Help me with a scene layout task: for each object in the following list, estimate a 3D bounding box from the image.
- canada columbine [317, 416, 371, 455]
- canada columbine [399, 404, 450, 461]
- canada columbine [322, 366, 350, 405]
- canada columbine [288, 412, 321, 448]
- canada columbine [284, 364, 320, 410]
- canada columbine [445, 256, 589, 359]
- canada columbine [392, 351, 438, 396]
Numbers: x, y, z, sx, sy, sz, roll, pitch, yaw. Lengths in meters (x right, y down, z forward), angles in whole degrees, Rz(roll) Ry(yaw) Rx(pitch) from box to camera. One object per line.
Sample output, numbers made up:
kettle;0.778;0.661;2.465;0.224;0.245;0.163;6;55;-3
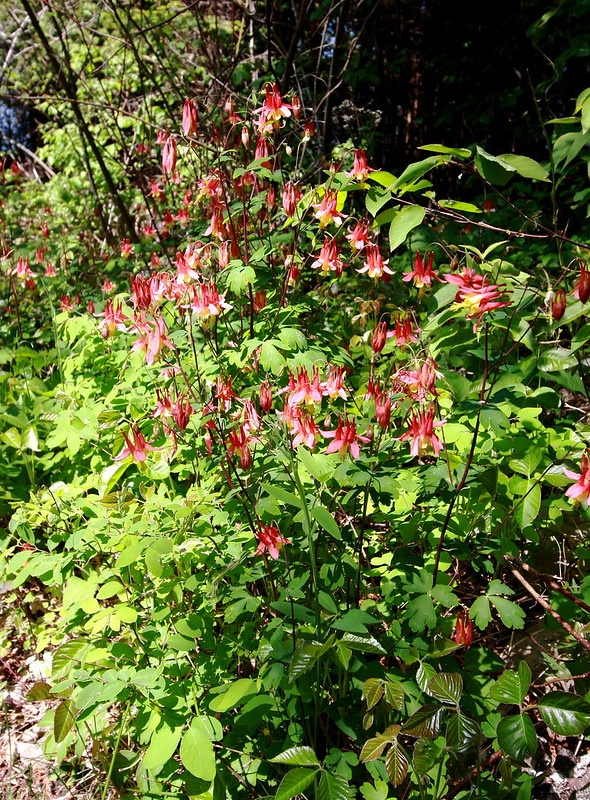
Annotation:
canada columbine;0.147;0.109;1.979;0.119;0.113;0.115;27;69;0
canada columbine;0.361;0.108;1.962;0.142;0.134;0.142;24;70;5
canada columbine;0.122;-0.045;2.122;0.098;0.099;0.102;-6;22;-28
canada columbine;0.021;0.083;1.954;0.103;0.086;0.097;-11;32;-25
canada columbine;0.022;-0.039;2.045;0.120;0.076;0.115;-11;24;-17
canada columbine;0.647;-0.278;1.904;0.385;0.225;0.156;-11;-11;-5
canada columbine;0.386;-0.081;2.041;0.114;0.129;0.160;-17;13;-33
